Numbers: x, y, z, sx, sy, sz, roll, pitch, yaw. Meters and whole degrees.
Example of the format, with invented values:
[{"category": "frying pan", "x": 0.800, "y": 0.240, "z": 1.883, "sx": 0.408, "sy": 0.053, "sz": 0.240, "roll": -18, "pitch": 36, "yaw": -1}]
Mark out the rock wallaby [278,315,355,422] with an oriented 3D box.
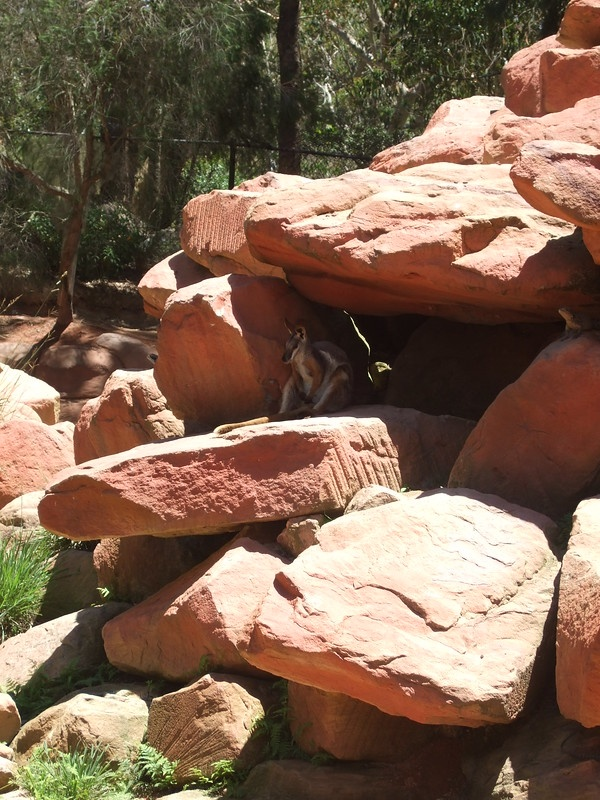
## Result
[{"category": "rock wallaby", "x": 0.067, "y": -0.165, "z": 5.446, "sx": 0.342, "sy": 0.494, "sz": 0.567, "roll": 4, "pitch": 9, "yaw": 19}]
